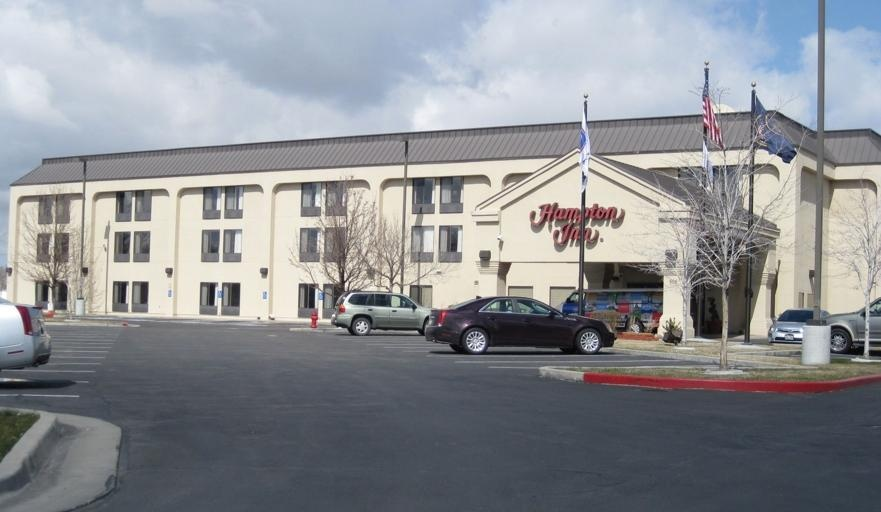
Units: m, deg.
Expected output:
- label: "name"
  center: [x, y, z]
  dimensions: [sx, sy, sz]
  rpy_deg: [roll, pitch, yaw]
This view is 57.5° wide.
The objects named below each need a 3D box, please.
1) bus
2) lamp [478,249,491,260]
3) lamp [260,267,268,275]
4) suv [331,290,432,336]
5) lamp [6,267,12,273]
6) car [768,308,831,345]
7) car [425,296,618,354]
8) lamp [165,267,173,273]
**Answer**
- label: "bus"
  center: [10.473, 3.684, 45.889]
  dimensions: [8.755, 3.480, 3.528]
  rpy_deg: [-1, 0, 18]
- label: "lamp"
  center: [2.507, 0.006, 44.836]
  dimensions: [0.654, 0.647, 0.468]
  rpy_deg: [0, -6, 1]
- label: "lamp"
  center: [-14.560, 1.248, 66.141]
  dimensions: [0.687, 0.582, 0.276]
  rpy_deg: [-4, -8, 35]
- label: "suv"
  center: [-2.748, 3.059, 42.355]
  dimensions: [6.107, 2.278, 2.642]
  rpy_deg: [3, 0, -18]
- label: "lamp"
  center: [-41.220, 1.382, 76.568]
  dimensions: [0.568, 0.586, 0.549]
  rpy_deg: [2, -5, -30]
- label: "car"
  center: [18.268, 3.492, 41.177]
  dimensions: [2.000, 1.486, 4.564]
  rpy_deg: [0, 5, 34]
- label: "car"
  center: [2.761, 2.684, 29.940]
  dimensions: [6.328, 2.190, 2.436]
  rpy_deg: [0, -1, -10]
- label: "lamp"
  center: [-23.542, 1.287, 69.535]
  dimensions: [0.706, 0.510, 0.312]
  rpy_deg: [-1, -6, 13]
